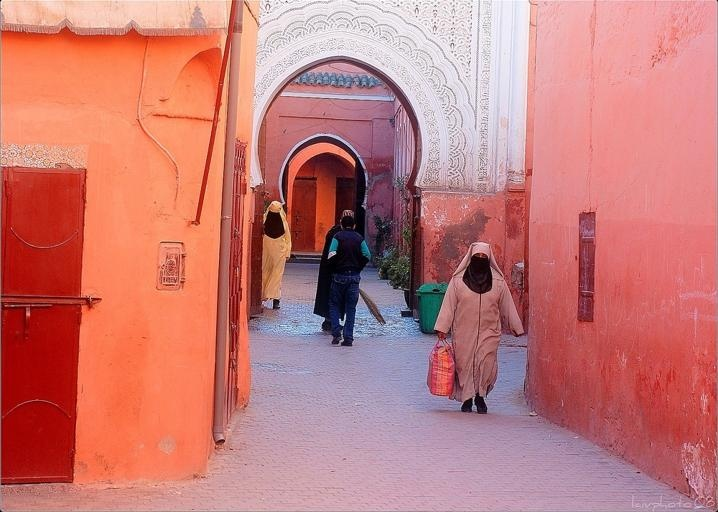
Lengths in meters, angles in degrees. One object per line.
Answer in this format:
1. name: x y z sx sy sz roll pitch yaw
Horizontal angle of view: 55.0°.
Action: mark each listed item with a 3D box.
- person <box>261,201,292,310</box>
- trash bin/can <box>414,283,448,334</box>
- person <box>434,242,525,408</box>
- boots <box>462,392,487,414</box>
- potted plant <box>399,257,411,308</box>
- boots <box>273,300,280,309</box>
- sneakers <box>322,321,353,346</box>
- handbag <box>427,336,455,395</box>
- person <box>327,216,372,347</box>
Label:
1. person: -1.591 -0.008 13.307 0.505 2.080 0.813 1 3 -6
2. trash bin/can: 1.032 0.853 11.387 0.669 0.883 0.701 1 -6 3
3. person: 1.234 0.738 7.175 0.870 1.746 0.460 2 3 6
4. boots: 1.180 1.513 7.059 0.127 0.248 0.344 4 -16 -12
5. potted plant: 1.112 0.586 16.749 0.300 1.037 0.359 -2 1 29
6. boots: -1.594 0.957 13.475 0.135 0.149 0.141 3 -4 -38
7. sneakers: -0.309 1.184 10.418 0.212 0.312 0.655 2 2 -6
8. handbag: 0.850 1.170 7.099 0.269 0.629 0.377 2 3 8
9. person: -0.170 0.328 10.324 0.605 1.946 0.674 1 3 -4
